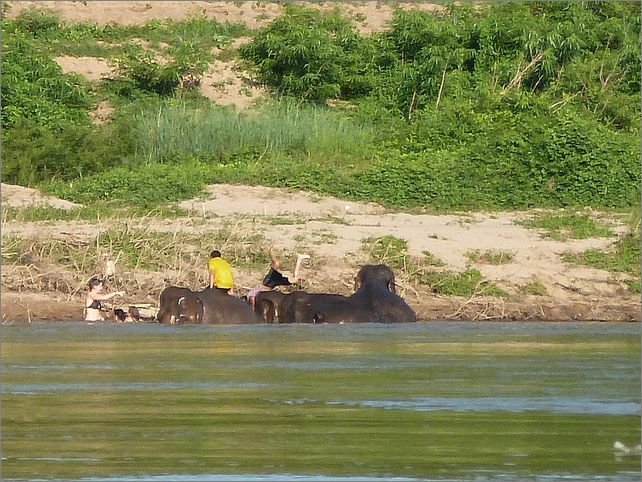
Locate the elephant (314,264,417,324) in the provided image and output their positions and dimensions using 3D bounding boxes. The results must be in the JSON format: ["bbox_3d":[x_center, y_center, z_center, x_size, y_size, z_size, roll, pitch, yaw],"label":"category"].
[{"bbox_3d":[0.983,1.069,34.847,1.067,0.729,1.890,0,8,21],"label":"elephant"}]

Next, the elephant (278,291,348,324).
[{"bbox_3d":[-0.252,1.334,34.799,1.417,0.709,0.595,6,-1,23],"label":"elephant"}]
